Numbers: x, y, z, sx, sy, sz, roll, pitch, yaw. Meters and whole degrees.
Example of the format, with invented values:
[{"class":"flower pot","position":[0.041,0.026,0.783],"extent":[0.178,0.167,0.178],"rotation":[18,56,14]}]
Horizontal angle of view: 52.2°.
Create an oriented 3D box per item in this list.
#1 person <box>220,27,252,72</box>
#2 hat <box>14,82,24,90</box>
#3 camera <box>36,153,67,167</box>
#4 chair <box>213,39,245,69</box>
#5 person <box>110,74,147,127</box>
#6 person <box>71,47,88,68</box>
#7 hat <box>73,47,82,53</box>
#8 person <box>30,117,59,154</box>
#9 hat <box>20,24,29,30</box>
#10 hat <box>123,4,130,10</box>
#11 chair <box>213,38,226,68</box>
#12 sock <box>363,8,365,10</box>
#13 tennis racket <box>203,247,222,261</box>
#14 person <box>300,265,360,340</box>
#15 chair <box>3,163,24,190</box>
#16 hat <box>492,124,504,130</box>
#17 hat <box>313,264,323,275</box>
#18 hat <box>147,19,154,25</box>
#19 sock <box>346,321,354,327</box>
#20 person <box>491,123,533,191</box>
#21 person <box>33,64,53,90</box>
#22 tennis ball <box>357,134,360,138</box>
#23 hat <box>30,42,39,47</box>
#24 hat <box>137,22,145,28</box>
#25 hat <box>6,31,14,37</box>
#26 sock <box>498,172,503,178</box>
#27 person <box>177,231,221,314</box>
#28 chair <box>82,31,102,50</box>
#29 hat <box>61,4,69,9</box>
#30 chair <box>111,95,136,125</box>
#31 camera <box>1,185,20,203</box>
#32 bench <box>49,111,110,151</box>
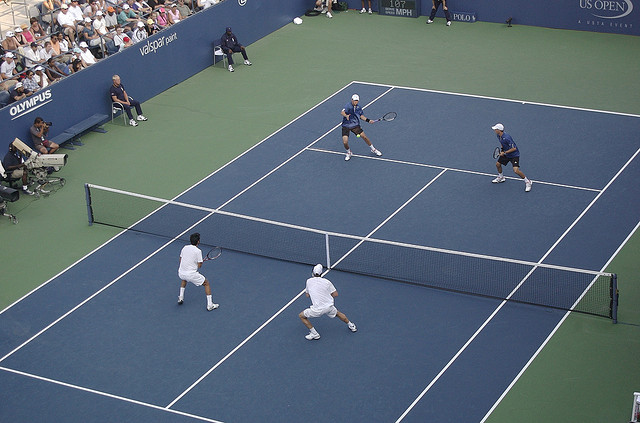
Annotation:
[{"class":"person","position":[-3.904,-7.148,28.564],"extent":[1.159,1.704,1.056],"rotation":[15,36,38]},{"class":"hat","position":[-10.781,-4.483,23.246],"extent":[0.281,0.120,0.296],"rotation":[-22,13,28]},{"class":"camera","position":[-8.922,-1.730,21.662],"extent":[0.647,0.280,0.455],"rotation":[0,8,12]},{"class":"chair","position":[-4.147,-7.033,29.185],"extent":[0.952,1.301,1.107],"rotation":[15,33,26]},{"class":"person","position":[-7.578,-4.382,25.318],"extent":[1.222,1.877,0.913],"rotation":[19,39,34]},{"class":"person","position":[-9.358,-5.886,25.211],"extent":[0.516,0.531,1.188],"rotation":[-16,35,-16]},{"class":"hat","position":[-9.493,-6.266,25.451],"extent":[0.274,0.138,0.365],"rotation":[-27,39,-28]},{"class":"person","position":[-9.696,-2.529,22.910],"extent":[0.794,1.488,0.641],"rotation":[0,18,-5]},{"class":"hat","position":[-11.396,-7.075,25.076],"extent":[0.370,0.164,0.500],"rotation":[-8,17,-15]},{"class":"hat","position":[-8.299,-8.688,27.798],"extent":[0.257,0.181,0.373],"rotation":[-13,34,-11]},{"class":"chair","position":[-4.565,-7.130,28.855],"extent":[0.645,1.068,0.612],"rotation":[15,30,26]},{"class":"sock","position":[2.232,-10.402,33.622],"extent":[0.071,0.088,0.075],"rotation":[15,36,18]},{"class":"tennis racket","position":[-3.107,1.153,19.036],"extent":[0.384,0.202,0.602],"rotation":[6,35,17]},{"class":"person","position":[0.154,2.141,16.309],"extent":[1.305,1.939,0.782],"rotation":[-9,12,-16]},{"class":"chair","position":[-10.372,-1.090,21.893],"extent":[0.528,0.799,0.582],"rotation":[-3,19,-10]},{"class":"hat","position":[5.570,-2.602,20.475],"extent":[0.353,0.141,0.244],"rotation":[8,27,15]},{"class":"hat","position":[-0.053,1.360,15.910],"extent":[0.146,0.226,0.189],"rotation":[16,20,6]},{"class":"hat","position":[-7.155,-7.916,27.386],"extent":[0.243,0.252,0.600],"rotation":[-10,33,-6]},{"class":"sock","position":[0.769,2.784,16.589],"extent":[0.155,0.163,0.152],"rotation":[-5,32,1]},{"class":"person","position":[6.352,-1.729,21.642],"extent":[1.516,2.512,1.055],"rotation":[0,42,18]},{"class":"person","position":[-10.229,-4.930,23.941],"extent":[0.564,0.744,1.319],"rotation":[-18,35,-19]},{"class":"tennis ball","position":[1.316,-2.603,22.530],"extent":[0.093,0.102,0.118],"rotation":[5,17,-10]},{"class":"hat","position":[-10.836,-6.306,24.670],"extent":[0.301,0.122,0.211],"rotation":[15,24,33]},{"class":"hat","position":[-7.411,-7.642,26.841],"extent":[0.209,0.238,0.492],"rotation":[-10,33,-6]},{"class":"hat","position":[-11.725,-6.605,24.571],"extent":[0.341,0.132,0.223],"rotation":[22,29,35]},{"class":"sock","position":[5.908,-1.198,21.282],"extent":[0.124,0.156,0.132],"rotation":[3,27,5]},{"class":"person","position":[-3.307,1.539,17.379],"extent":[1.131,2.016,0.968],"rotation":[12,20,20]},{"class":"chair","position":[-9.252,-6.911,26.333],"extent":[0.697,0.841,0.798],"rotation":[1,15,3]},{"class":"hat","position":[-10.377,-8.246,26.420],"extent":[0.251,0.176,0.400],"rotation":[-11,34,-8]},{"class":"chair","position":[-7.660,-4.032,25.891],"extent":[0.748,1.358,0.698],"rotation":[11,24,22]},{"class":"camera","position":[-9.943,-0.584,20.721],"extent":[0.809,0.496,0.444],"rotation":[9,10,24]},{"class":"bench","position":[-8.998,-2.938,24.453],"extent":[0.745,0.609,2.351],"rotation":[17,40,31]}]
